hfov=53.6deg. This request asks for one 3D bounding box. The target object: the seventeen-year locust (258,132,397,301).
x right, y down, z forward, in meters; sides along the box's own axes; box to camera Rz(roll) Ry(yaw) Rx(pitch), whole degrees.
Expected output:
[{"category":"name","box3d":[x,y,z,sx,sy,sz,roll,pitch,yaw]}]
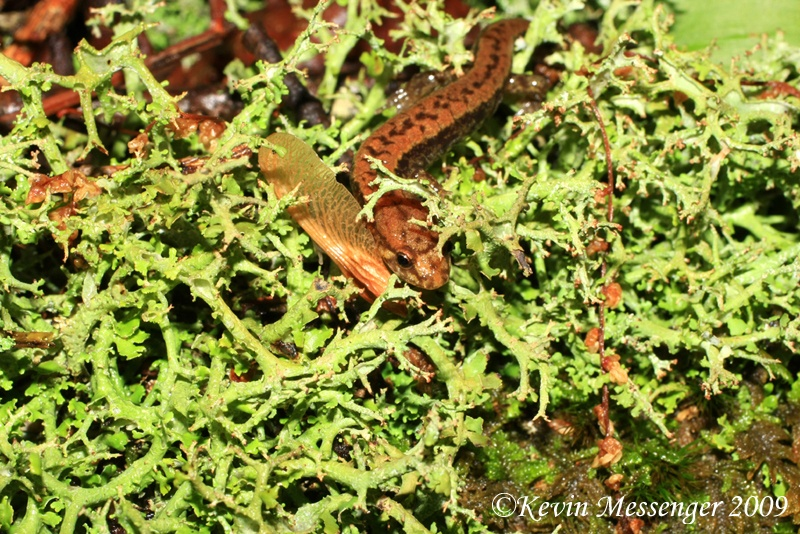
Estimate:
[{"category":"seventeen-year locust","box3d":[-0.263,-0.192,2.952,0.284,0.873,0.281,-36,11,3]}]
